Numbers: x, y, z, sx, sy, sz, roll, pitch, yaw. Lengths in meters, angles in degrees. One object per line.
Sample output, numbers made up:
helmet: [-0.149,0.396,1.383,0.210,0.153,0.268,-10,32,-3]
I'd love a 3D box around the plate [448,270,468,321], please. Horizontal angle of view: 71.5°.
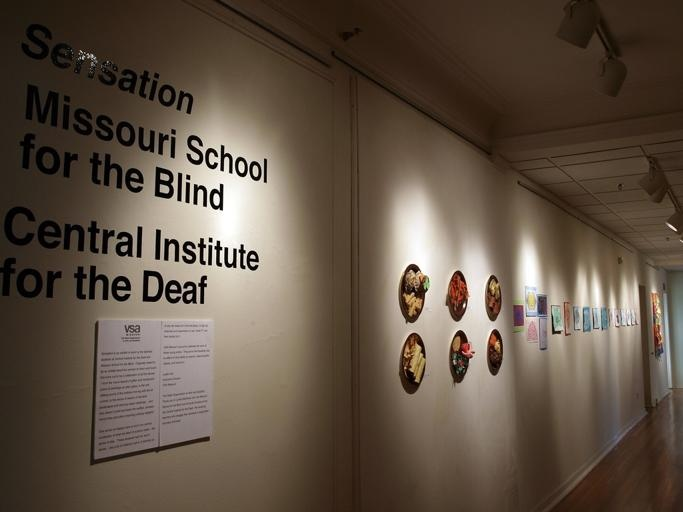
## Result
plate: [1.057,0.389,4.512,0.082,0.418,0.339,-1,-5,31]

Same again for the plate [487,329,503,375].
plate: [1.645,1.036,5.078,0.059,0.495,0.336,-3,-7,38]

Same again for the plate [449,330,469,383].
plate: [1.123,0.954,4.452,0.128,0.496,0.313,-3,-7,34]

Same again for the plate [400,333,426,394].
plate: [0.595,0.888,3.914,0.083,0.495,0.381,-3,-7,33]

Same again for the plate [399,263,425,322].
plate: [0.613,0.312,3.936,0.115,0.483,0.383,-3,-8,39]

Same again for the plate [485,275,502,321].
plate: [1.644,0.453,5.138,0.077,0.493,0.349,-3,-7,34]
